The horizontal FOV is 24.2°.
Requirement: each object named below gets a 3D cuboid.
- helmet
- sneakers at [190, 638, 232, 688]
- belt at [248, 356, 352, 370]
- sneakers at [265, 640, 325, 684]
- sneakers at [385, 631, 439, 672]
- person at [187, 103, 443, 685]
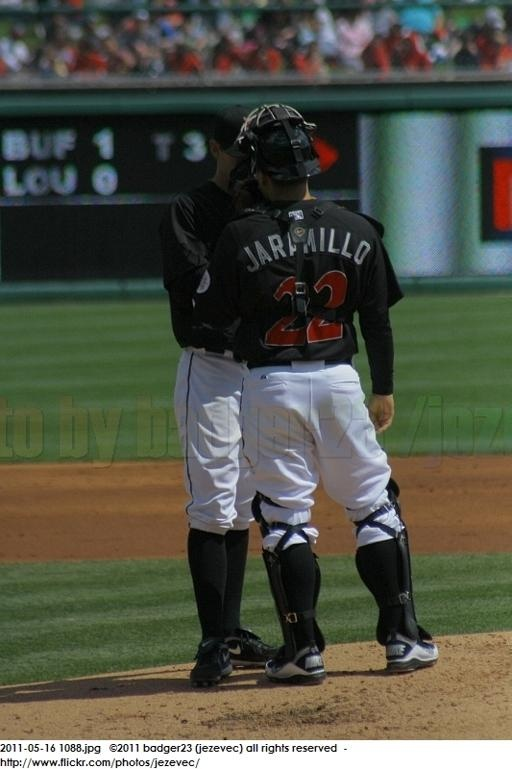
[{"bbox_3d":[0.072,-0.810,4.098,0.266,0.179,0.300,-14,42,-16],"label":"helmet"},{"bbox_3d":[-0.155,0.956,4.072,0.088,0.094,0.221,-2,-3,3],"label":"sneakers"},{"bbox_3d":[0.158,-0.070,4.030,0.344,0.030,0.111,-3,6,-12],"label":"belt"},{"bbox_3d":[0.140,0.947,4.069,0.212,0.121,0.104,0,-3,24],"label":"sneakers"},{"bbox_3d":[0.519,0.916,4.110,0.091,0.104,0.235,1,2,44],"label":"sneakers"},{"bbox_3d":[0.201,0.187,4.043,0.728,1.620,0.320,-4,8,-12],"label":"person"}]
